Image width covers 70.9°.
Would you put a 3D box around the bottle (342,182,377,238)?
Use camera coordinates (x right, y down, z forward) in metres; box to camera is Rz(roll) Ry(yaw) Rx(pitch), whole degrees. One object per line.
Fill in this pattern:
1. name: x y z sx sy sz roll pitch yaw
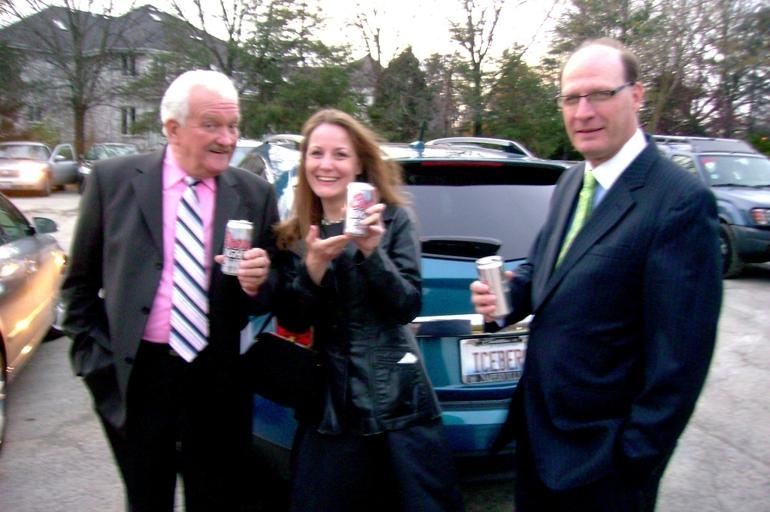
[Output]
1. bottle: -0.121 -0.210 2.389 0.123 0.236 0.134 -2 11 0

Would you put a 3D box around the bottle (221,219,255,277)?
1. bottle: -0.672 -0.042 2.478 0.122 0.242 0.149 5 13 32

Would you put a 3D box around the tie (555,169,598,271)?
1. tie: 0.839 -0.187 2.367 0.073 0.060 0.555 6 47 32

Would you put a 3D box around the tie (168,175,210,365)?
1. tie: -0.936 0.058 2.558 0.149 0.827 0.278 -3 12 -1
